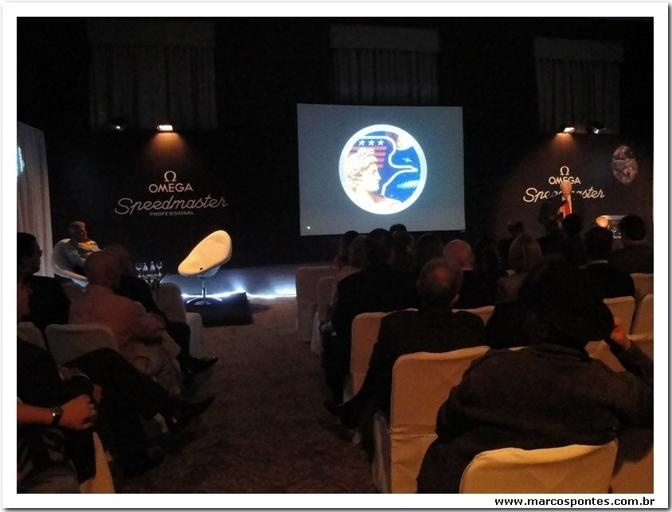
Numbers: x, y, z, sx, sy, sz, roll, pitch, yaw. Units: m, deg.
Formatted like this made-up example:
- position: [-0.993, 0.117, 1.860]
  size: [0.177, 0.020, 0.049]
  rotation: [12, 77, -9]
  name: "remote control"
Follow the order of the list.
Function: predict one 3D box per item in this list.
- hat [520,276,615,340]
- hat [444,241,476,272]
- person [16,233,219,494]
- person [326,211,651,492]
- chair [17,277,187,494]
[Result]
- position: [1.027, 0.246, 2.276]
  size: [0.295, 0.314, 0.092]
  rotation: [-11, -26, 0]
  name: "hat"
- position: [0.817, 0.004, 3.479]
  size: [0.171, 0.276, 0.176]
  rotation: [-6, 17, 11]
  name: "hat"
- position: [-1.671, 0.621, 3.493]
  size: [1.079, 1.496, 1.477]
  rotation: [-1, -1, 20]
  name: "person"
- position: [0.711, 0.536, 2.748]
  size: [1.025, 1.526, 1.218]
  rotation: [-2, 26, -2]
  name: "person"
- position: [-1.346, 0.850, 2.972]
  size: [0.457, 0.972, 0.891]
  rotation: [-1, 11, 9]
  name: "chair"
